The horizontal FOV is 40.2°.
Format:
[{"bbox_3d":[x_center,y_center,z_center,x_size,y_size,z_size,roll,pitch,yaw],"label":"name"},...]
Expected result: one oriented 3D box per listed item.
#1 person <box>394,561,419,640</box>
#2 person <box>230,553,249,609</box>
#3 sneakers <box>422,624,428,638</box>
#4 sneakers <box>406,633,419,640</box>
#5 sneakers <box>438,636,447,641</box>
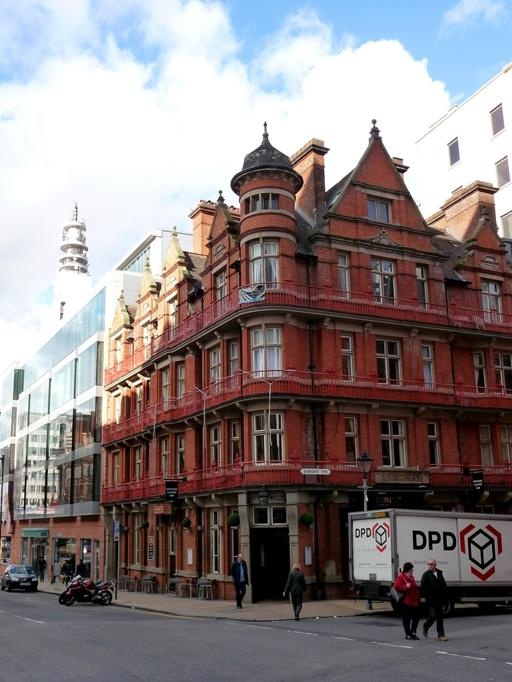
[{"bbox_3d":[3.006,5.137,13.900,0.467,1.433,1.067,-5,-18,10],"label":"person"},{"bbox_3d":[-0.525,7.751,22.650,0.523,1.616,1.226,-1,-18,-2],"label":"person"},{"bbox_3d":[3.433,5.841,14.169,0.096,0.242,0.286,-5,-18,9],"label":"sneakers"},{"bbox_3d":[3.083,5.797,13.784,0.099,0.123,0.293,13,-23,-28],"label":"sneakers"},{"bbox_3d":[3.614,5.727,13.553,0.165,0.092,0.278,-6,-18,11],"label":"sneakers"}]
